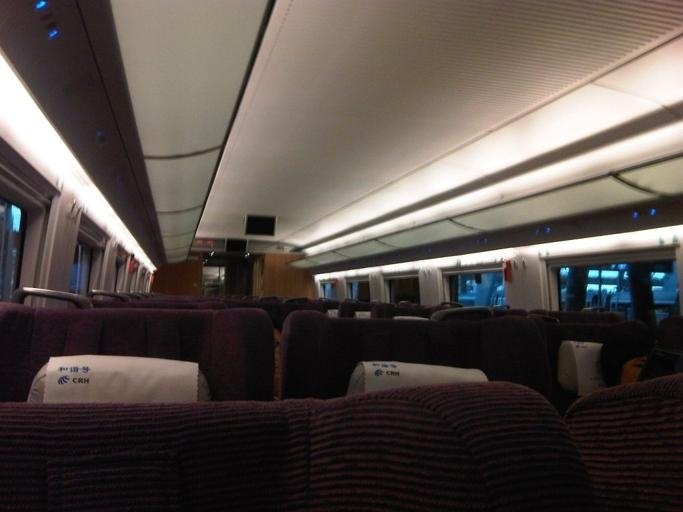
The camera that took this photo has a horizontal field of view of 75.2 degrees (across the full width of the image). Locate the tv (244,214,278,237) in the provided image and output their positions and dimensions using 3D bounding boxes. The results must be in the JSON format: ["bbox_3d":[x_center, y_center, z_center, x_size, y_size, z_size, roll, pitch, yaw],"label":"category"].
[{"bbox_3d":[-1.986,-0.796,10.833,0.706,0.365,0.623,0,0,-16],"label":"tv"}]
